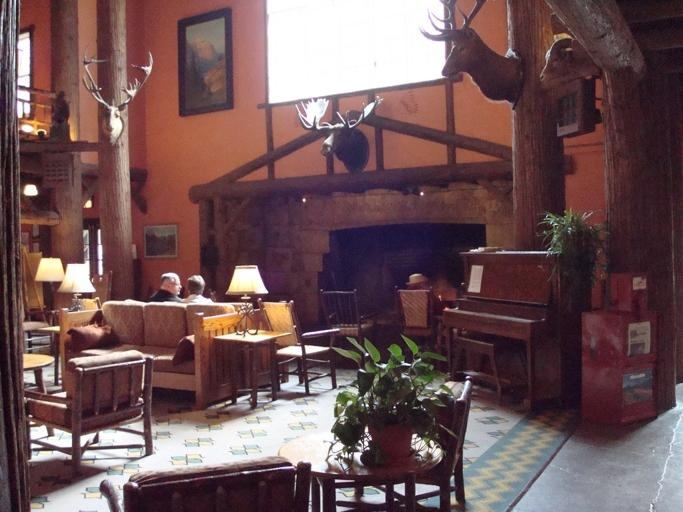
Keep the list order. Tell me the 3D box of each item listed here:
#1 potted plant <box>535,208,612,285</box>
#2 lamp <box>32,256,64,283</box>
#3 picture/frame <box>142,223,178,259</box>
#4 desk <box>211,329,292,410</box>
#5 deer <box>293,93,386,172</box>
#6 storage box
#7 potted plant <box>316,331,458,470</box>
[{"bbox_3d":[2.406,-0.147,6.624,0.723,0.846,0.775,-1,5,9],"label":"potted plant"},{"bbox_3d":[-4.191,0.197,9.057,0.342,0.396,0.363,7,12,33],"label":"lamp"},{"bbox_3d":[-3.551,-0.296,12.511,0.886,0.667,0.156,-6,-3,34],"label":"picture/frame"},{"bbox_3d":[-1.014,1.162,7.043,0.634,0.888,0.855,1,2,26],"label":"desk"},{"bbox_3d":[-0.036,-1.959,10.016,1.075,1.312,1.008,-3,-2,-16],"label":"deer"},{"bbox_3d":[2.655,1.041,5.995,0.763,1.196,0.292,-3,-2,-13],"label":"storage box"},{"bbox_3d":[0.226,0.861,3.934,0.698,0.611,0.722,1,-3,-22],"label":"potted plant"}]
